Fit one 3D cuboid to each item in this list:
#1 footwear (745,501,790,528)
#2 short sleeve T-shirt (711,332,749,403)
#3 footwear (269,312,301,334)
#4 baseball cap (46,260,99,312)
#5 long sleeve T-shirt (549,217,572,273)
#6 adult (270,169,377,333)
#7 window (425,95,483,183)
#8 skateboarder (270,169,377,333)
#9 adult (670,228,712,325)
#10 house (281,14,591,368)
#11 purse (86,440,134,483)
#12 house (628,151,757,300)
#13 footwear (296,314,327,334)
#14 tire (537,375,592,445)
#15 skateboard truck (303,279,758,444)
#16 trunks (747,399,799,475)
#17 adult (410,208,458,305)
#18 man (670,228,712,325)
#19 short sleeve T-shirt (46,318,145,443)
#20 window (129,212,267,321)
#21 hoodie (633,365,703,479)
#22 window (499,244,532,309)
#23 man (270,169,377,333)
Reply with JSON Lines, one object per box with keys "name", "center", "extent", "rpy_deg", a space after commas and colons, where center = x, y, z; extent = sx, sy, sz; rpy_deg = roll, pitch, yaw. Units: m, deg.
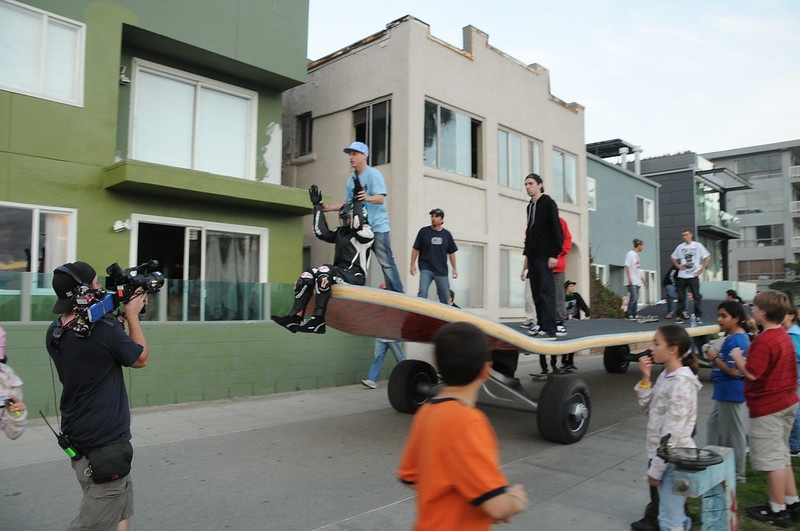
{"name": "footwear", "center": [3.801, 2.585, 6.048], "extent": [0.425, 0.162, 0.166], "rpy_deg": [4, -13, 32]}
{"name": "short sleeve T-shirt", "center": [3.848, 1.189, 6.842], "extent": [0.490, 0.767, 0.782], "rpy_deg": [1, -5, 26]}
{"name": "footwear", "center": [-1.406, 0.708, 7.290], "extent": [0.351, 0.197, 0.349], "rpy_deg": [1, 2, -9]}
{"name": "baseball cap", "center": [-2.873, 0.152, 5.182], "extent": [0.351, 0.307, 0.490], "rpy_deg": [-8, 25, 15]}
{"name": "long sleeve T-shirt", "center": [2.511, -0.293, 9.253], "extent": [0.537, 0.817, 0.302], "rpy_deg": [-5, 5, -21]}
{"name": "adult", "center": [-0.925, -0.150, 7.658], "extent": [0.905, 2.152, 1.319], "rpy_deg": [2, 2, 19]}
{"name": "window", "center": [1.353, -3.419, 15.658], "extent": [0.098, 1.603, 2.914], "rpy_deg": [-3, -5, 38]}
{"name": "skateboarder", "center": [-0.925, -0.149, 7.647], "extent": [0.893, 2.152, 1.342], "rpy_deg": [2, 2, 20]}
{"name": "adult", "center": [6.171, 0.214, 12.561], "extent": [0.813, 1.957, 0.608], "rpy_deg": [-1, -7, 38]}
{"name": "house", "center": [-1.360, -1.711, 20.199], "extent": [11.145, 8.761, 6.335], "rpy_deg": [-5, -10, 45]}
{"name": "purse", "center": [-2.516, 1.727, 5.009], "extent": [0.406, 0.334, 0.213], "rpy_deg": [-3, -19, -40]}
{"name": "house", "center": [17.131, -1.947, 36.642], "extent": [7.751, 8.673, 8.632], "rpy_deg": [2, -3, -35]}
{"name": "footwear", "center": [-1.086, 0.739, 7.217], "extent": [0.333, 0.222, 0.232], "rpy_deg": [0, 2, -18]}
{"name": "tire", "center": [2.316, 2.055, 8.264], "extent": [0.603, 0.894, 1.002], "rpy_deg": [-1, 0, 41]}
{"name": "skateboard truck", "center": [2.179, 1.276, 9.014], "extent": [6.717, 1.399, 2.595], "rpy_deg": [5, -5, -41]}
{"name": "trunks", "center": [3.920, 1.806, 6.106], "extent": [0.536, 0.657, 0.232], "rpy_deg": [1, 2, -7]}
{"name": "adult", "center": [0.609, 0.003, 10.833], "extent": [0.964, 1.983, 0.539], "rpy_deg": [3, 2, -16]}
{"name": "man", "center": [6.188, 0.213, 12.553], "extent": [0.783, 1.965, 0.589], "rpy_deg": [-1, -6, 34]}
{"name": "short sleeve T-shirt", "center": [-2.711, 1.014, 5.244], "extent": [0.830, 0.989, 0.606], "rpy_deg": [-5, -3, 18]}
{"name": "window", "center": [-4.454, -0.029, 13.539], "extent": [3.232, 2.557, 1.700], "rpy_deg": [5, 14, -1]}
{"name": "hoodie", "center": [2.630, 1.488, 5.787], "extent": [0.560, 0.949, 0.427], "rpy_deg": [2, 2, 25]}
{"name": "window", "center": [3.015, 0.323, 15.678], "extent": [0.123, 1.930, 2.057], "rpy_deg": [-6, -7, 40]}
{"name": "man", "center": [-0.927, -0.144, 7.652], "extent": [0.901, 2.140, 1.332], "rpy_deg": [2, 2, 20]}
